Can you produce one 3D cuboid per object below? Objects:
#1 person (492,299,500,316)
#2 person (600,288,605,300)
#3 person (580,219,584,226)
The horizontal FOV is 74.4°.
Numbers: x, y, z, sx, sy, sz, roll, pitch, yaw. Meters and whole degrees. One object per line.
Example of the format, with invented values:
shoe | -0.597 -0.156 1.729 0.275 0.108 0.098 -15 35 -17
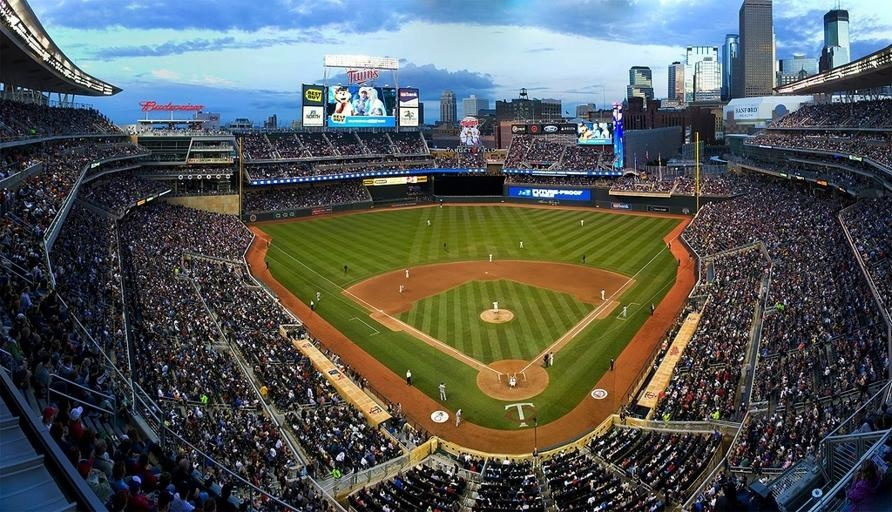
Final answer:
person | 4.358 4.386 49.601 0.802 1.238 0.861 -3 2 -29
person | 14.145 3.511 52.839 0.351 0.384 1.119 0 22 15
person | 18.210 -4.398 78.527 0.370 0.301 2.164 -1 13 12
